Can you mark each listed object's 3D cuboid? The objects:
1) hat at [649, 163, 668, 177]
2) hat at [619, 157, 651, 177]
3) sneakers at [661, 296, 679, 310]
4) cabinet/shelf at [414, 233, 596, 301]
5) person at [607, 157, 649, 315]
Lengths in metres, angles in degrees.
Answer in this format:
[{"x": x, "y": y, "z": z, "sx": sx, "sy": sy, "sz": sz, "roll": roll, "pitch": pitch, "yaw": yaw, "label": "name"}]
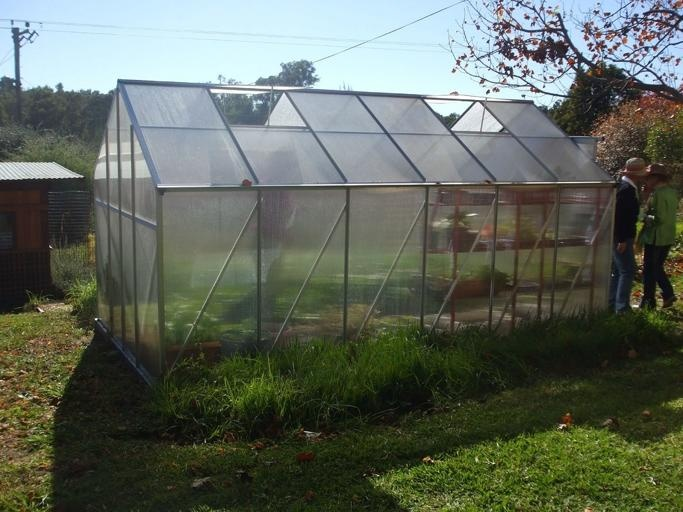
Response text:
[{"x": 4.675, "y": -1.320, "z": 10.430, "sx": 0.216, "sy": 0.115, "sz": 0.227, "roll": 22, "pitch": 4, "yaw": -39, "label": "hat"}, {"x": 4.430, "y": -1.339, "z": 10.550, "sx": 0.346, "sy": 0.170, "sz": 0.361, "roll": -11, "pitch": 18, "yaw": -26, "label": "hat"}, {"x": 4.916, "y": 0.702, "z": 10.559, "sx": 0.087, "sy": 0.198, "sz": 0.071, "roll": 41, "pitch": 19, "yaw": 10, "label": "sneakers"}, {"x": 2.214, "y": 0.124, "z": 9.647, "sx": 2.488, "sy": 0.886, "sz": 0.804, "roll": -1, "pitch": 6, "yaw": 21, "label": "cabinet/shelf"}, {"x": 4.233, "y": -0.329, "z": 10.397, "sx": 0.421, "sy": 1.857, "sz": 0.636, "roll": 3, "pitch": 2, "yaw": 22, "label": "person"}]
